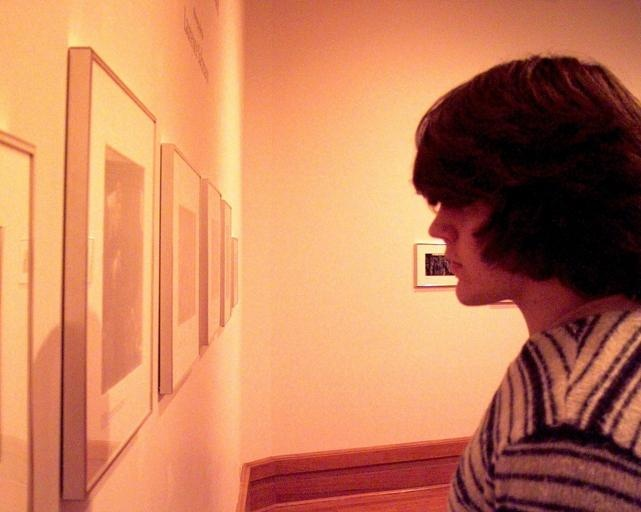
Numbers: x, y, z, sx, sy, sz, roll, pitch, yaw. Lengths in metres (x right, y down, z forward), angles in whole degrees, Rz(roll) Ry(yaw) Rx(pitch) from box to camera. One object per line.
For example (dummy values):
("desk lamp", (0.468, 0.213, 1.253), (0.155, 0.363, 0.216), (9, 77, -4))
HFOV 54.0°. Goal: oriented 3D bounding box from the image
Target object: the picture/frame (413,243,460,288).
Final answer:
("picture/frame", (0.808, 0.073, 4.575), (0.336, 0.278, 0.024), (2, -9, -30))
